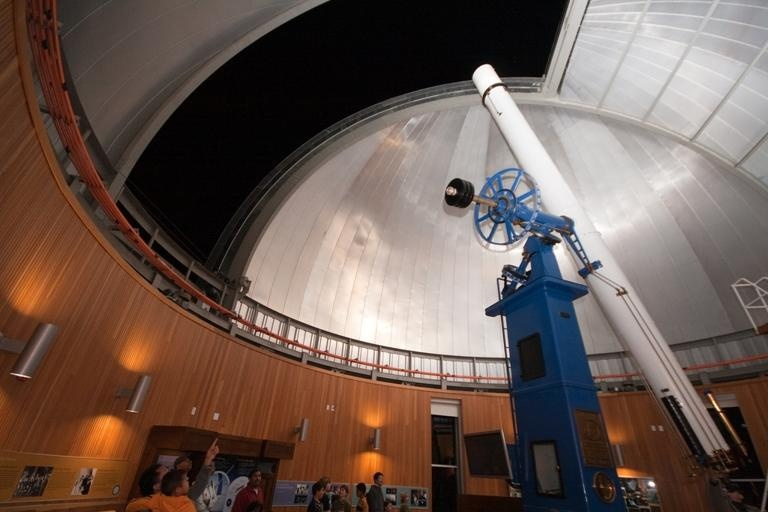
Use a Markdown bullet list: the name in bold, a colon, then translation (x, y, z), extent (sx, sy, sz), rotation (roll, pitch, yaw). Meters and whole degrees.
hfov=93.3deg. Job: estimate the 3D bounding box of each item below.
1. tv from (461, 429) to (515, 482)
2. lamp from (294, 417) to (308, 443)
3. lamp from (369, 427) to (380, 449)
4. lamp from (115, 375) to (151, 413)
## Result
- **tv**: translation (2.196, 4.148, 7.648), extent (0.631, 0.841, 1.095), rotation (24, -40, -29)
- **lamp**: translation (-2.703, 5.602, 11.901), extent (0.415, 0.683, 0.492), rotation (5, -34, -5)
- **lamp**: translation (-0.321, 6.579, 13.235), extent (0.328, 0.695, 0.395), rotation (-5, -34, 10)
- **lamp**: translation (-5.716, 3.029, 8.139), extent (0.872, 0.263, 0.608), rotation (35, -36, -19)
